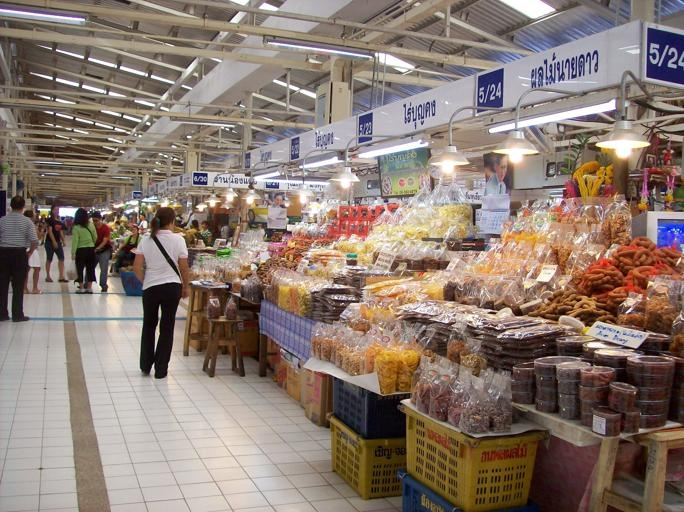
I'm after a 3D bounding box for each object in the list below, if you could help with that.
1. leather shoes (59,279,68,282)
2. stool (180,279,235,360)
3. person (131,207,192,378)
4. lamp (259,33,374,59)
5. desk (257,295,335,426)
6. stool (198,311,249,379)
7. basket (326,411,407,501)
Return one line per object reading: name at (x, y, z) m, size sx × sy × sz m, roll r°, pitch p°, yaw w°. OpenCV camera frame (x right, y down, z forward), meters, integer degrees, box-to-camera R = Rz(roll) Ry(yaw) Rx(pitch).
leather shoes at (-7.481, 0.641, 13.049) m, size 0.260 × 0.105 × 0.088 m, roll 1°, pitch 2°, yaw -8°
stool at (-1.990, 0.853, 6.784) m, size 1.000 × 1.211 × 0.931 m, roll 1°, pitch -1°, yaw -16°
person at (-2.074, 0.406, 5.592) m, size 0.582 × 1.959 × 0.373 m, roll 0°, pitch 3°, yaw 1°
lamp at (-0.355, -3.401, 7.891) m, size 1.797 × 0.236 × 0.451 m, roll -1°, pitch 3°, yaw -19°
desk at (-0.434, 1.015, 4.691) m, size 0.353 × 0.681 × 1.136 m, roll 1°, pitch 2°, yaw -21°
stool at (-1.453, 1.079, 6.025) m, size 0.616 × 0.903 × 0.693 m, roll 1°, pitch -4°, yaw -12°
basket at (0.140, 1.393, 3.410) m, size 0.370 × 0.253 × 0.490 m, roll 2°, pitch 2°, yaw -17°
